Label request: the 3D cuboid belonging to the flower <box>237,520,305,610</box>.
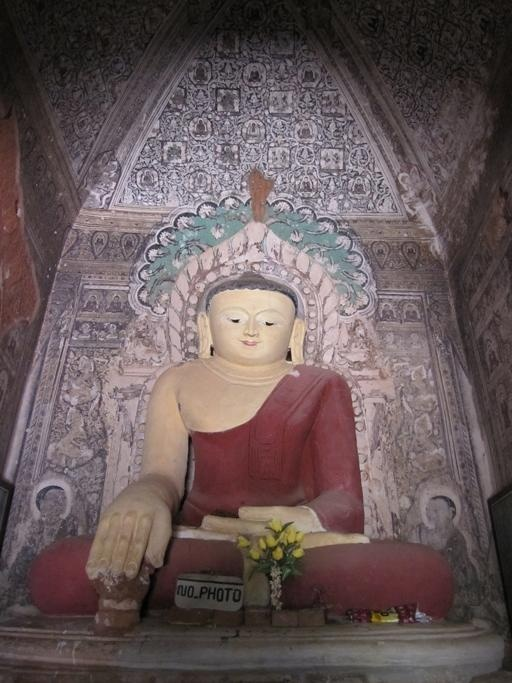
[{"bbox_3d":[0.055,0.901,1.952,0.272,0.316,0.172,0,-29,6],"label":"flower"}]
